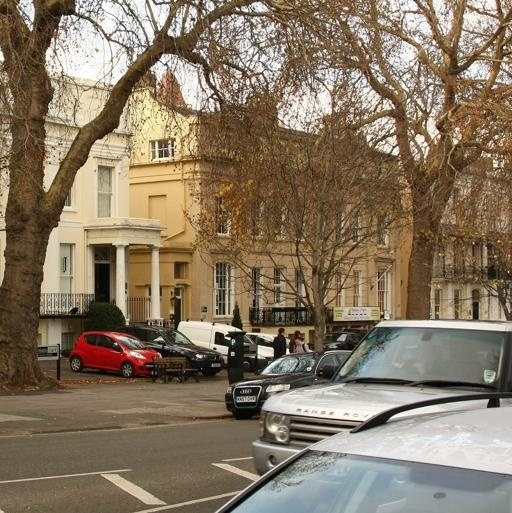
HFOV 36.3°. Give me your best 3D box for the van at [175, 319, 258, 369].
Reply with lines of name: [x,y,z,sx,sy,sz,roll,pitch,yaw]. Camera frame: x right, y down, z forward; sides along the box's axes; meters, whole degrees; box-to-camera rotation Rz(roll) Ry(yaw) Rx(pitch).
van: [-1.589,3.668,32.898,3.163,1.833,1.788,0,-2,26]

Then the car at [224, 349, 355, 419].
car: [0.455,2.432,15.343,1.386,1.033,2.856,-11,-8,42]

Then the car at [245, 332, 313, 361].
car: [0.322,3.976,33.691,2.605,0.976,1.295,-6,-6,42]

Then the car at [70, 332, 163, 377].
car: [-4.977,3.492,27.794,3.720,1.593,0.774,-5,-8,35]

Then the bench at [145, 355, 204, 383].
bench: [-2.821,3.865,26.581,1.750,0.795,0.889,7,-9,-43]
